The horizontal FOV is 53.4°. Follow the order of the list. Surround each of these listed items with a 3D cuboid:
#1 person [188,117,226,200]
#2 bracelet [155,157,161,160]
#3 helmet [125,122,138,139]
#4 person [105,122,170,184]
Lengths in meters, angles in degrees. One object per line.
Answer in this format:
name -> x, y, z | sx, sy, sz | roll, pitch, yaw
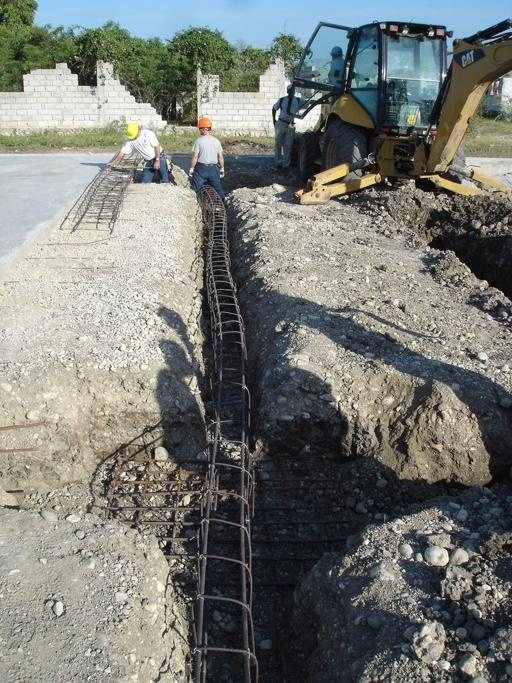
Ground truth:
person -> -0.814, -3.004, 8.367 | 0.595, 1.236, 1.200 | 0, 26, -7
bracelet -> -1.567, -2.913, 8.065 | 0.059, 0.016, 0.056 | 8, 35, 17
helmet -> -1.894, -3.211, 7.767 | 0.165, 0.237, 0.364 | -6, 28, -17
person -> -1.773, -2.927, 8.041 | 0.630, 0.977, 1.408 | 2, 26, -3
